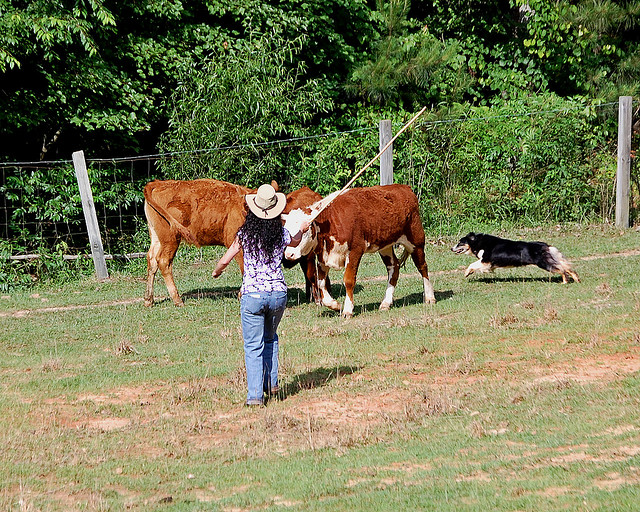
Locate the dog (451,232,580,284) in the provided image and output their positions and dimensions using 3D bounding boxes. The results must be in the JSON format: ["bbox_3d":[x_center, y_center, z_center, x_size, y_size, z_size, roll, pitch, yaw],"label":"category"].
[{"bbox_3d":[3.352,0.001,15.214,1.964,0.906,0.522,2,15,21],"label":"dog"}]

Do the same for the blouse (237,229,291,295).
[{"bbox_3d":[-0.626,0.169,10.227,0.738,1.113,0.558,-1,-1,6],"label":"blouse"}]

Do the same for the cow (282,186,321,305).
[{"bbox_3d":[-0.215,-0.074,14.164,0.538,2.038,0.539,-9,14,-37],"label":"cow"}]

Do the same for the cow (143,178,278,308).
[{"bbox_3d":[-1.874,-0.276,15.495,2.338,2.438,0.770,-1,15,-20],"label":"cow"}]

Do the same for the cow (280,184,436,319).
[{"bbox_3d":[0.639,-0.041,14.102,2.864,2.080,0.837,-7,6,-35],"label":"cow"}]
